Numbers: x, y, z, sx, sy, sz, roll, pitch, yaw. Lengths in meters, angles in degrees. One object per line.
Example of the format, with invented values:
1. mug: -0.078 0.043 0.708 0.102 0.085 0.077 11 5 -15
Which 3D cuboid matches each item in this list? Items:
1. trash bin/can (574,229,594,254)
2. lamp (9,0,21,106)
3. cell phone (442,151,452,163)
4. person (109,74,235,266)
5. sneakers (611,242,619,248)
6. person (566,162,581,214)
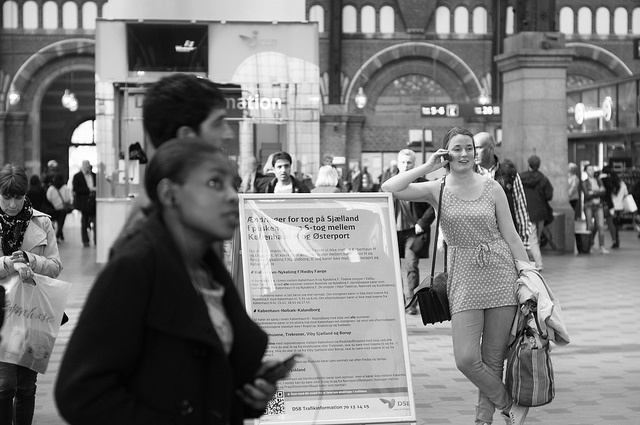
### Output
1. trash bin/can: 5.661 0.617 20.509 0.412 0.535 0.429 1 -4 -27
2. lamp: -12.256 -6.484 37.926 0.668 4.658 1.553 -2 0 -18
3. cell phone: 1.098 -0.510 8.427 0.082 0.070 0.120 0 3 6
4. person: -0.972 -0.318 6.465 0.854 1.702 1.074 -2 2 -16
5. sneakers: 6.848 0.757 22.168 0.109 0.127 0.042 0 13 0
6. person: 5.474 -0.550 20.543 0.262 0.919 0.433 -1 1 14
